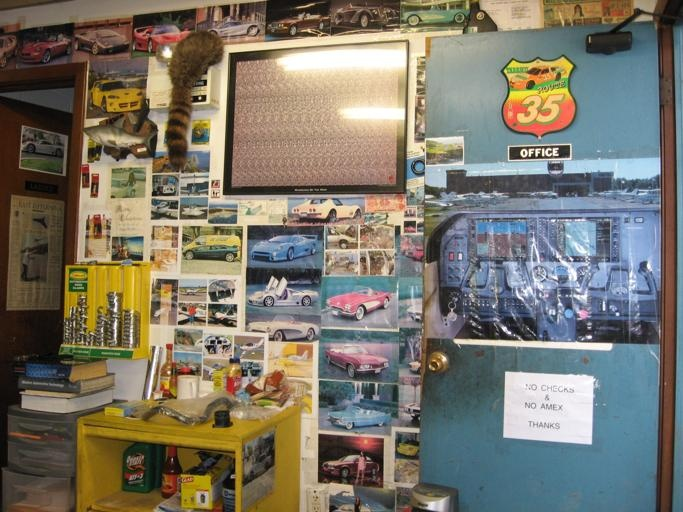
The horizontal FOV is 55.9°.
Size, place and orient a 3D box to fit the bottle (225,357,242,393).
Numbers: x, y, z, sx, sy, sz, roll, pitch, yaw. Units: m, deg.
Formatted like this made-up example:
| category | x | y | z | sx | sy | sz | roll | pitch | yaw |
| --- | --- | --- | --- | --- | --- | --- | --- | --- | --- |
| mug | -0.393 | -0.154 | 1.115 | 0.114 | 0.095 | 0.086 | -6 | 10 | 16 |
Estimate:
| category | x | y | z | sx | sy | sz | roll | pitch | yaw |
| --- | --- | --- | --- | --- | --- | --- | --- | --- | --- |
| bottle | -0.592 | 0.652 | 3.538 | 0.083 | 0.178 | 0.138 | 1 | -3 | -6 |

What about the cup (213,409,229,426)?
| category | x | y | z | sx | sy | sz | roll | pitch | yaw |
| --- | --- | --- | --- | --- | --- | --- | --- | --- | --- |
| cup | -0.581 | 0.779 | 3.124 | 0.067 | 0.038 | 0.068 | -1 | 1 | 0 |

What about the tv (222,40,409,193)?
| category | x | y | z | sx | sy | sz | roll | pitch | yaw |
| --- | --- | --- | --- | --- | --- | --- | --- | --- | --- |
| tv | -0.099 | -0.748 | 3.541 | 0.916 | 0.674 | 0.037 | 1 | -3 | 11 |

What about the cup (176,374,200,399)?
| category | x | y | z | sx | sy | sz | roll | pitch | yaw |
| --- | --- | --- | --- | --- | --- | --- | --- | --- | --- |
| cup | -0.826 | 0.704 | 3.457 | 0.091 | 0.116 | 0.140 | 3 | -2 | -27 |

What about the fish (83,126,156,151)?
| category | x | y | z | sx | sy | sz | roll | pitch | yaw |
| --- | --- | --- | --- | --- | --- | --- | --- | --- | --- |
| fish | -1.319 | -0.701 | 3.816 | 0.435 | 0.139 | 0.034 | 0 | -3 | 12 |

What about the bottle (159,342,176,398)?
| category | x | y | z | sx | sy | sz | roll | pitch | yaw |
| --- | --- | --- | --- | --- | --- | --- | --- | --- | --- |
| bottle | -0.981 | 0.645 | 3.661 | 0.132 | 0.294 | 0.059 | -1 | -4 | 29 |
